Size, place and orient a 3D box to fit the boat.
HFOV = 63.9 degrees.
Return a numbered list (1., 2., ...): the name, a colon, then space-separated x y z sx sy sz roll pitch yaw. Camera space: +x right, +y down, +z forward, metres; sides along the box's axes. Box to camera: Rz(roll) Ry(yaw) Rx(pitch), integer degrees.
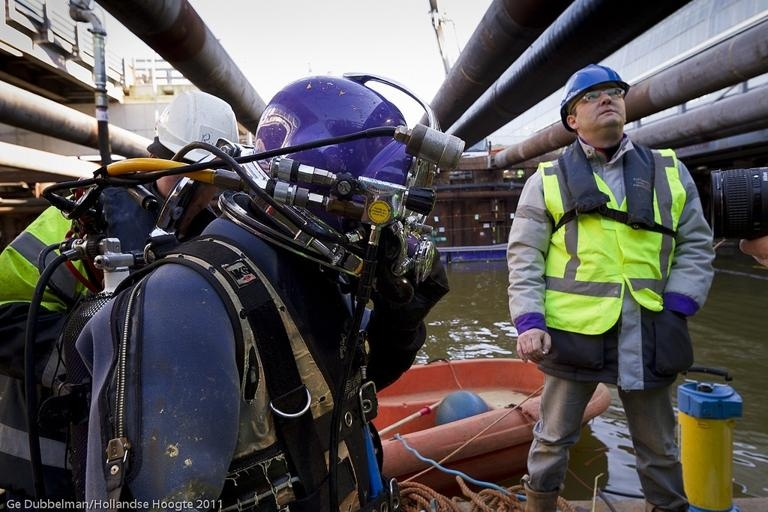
1. boat: 0.853 1.377 5.243 1.124 0.535 1.759 10 12 41
